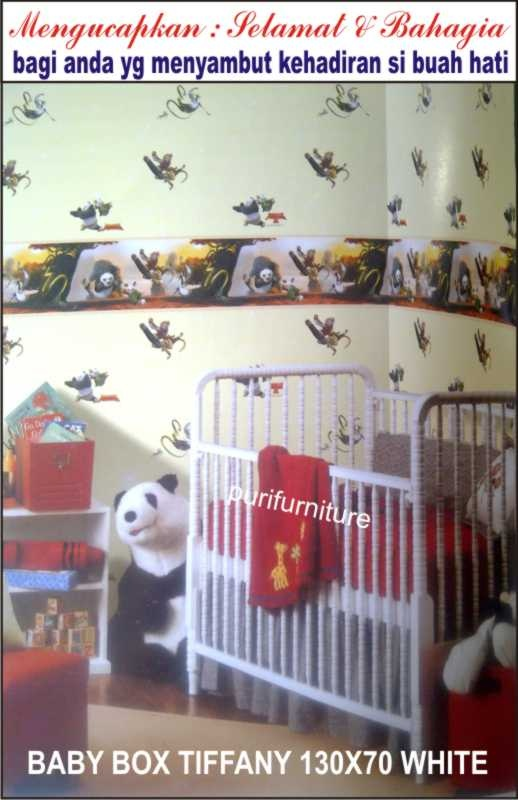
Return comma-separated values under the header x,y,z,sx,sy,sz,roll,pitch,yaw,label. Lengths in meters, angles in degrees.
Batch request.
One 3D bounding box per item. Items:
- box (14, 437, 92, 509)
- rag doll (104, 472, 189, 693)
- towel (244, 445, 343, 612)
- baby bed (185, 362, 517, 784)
x,y,z,sx,sy,sz,roll,pitch,yaw,label
-0.567,0.193,2.663,0.199,0.203,0.194,1,-1,-32,box
-0.270,0.533,2.794,0.386,0.604,0.306,-5,0,-2,rag doll
0.091,0.358,2.498,0.156,0.537,0.378,5,-8,-35,towel
0.188,0.358,2.743,0.805,0.993,1.023,-3,9,-23,baby bed
